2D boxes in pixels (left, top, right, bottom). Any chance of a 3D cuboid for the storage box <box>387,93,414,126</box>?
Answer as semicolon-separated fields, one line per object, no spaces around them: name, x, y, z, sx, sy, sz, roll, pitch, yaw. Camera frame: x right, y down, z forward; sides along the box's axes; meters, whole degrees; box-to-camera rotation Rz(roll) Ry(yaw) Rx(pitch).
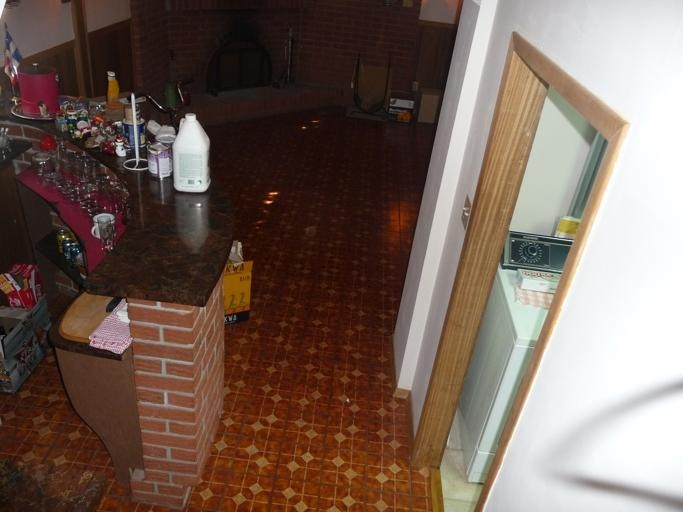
storage box;1.007;-2.476;8.670;0.468;0.382;0.605;8;26;4

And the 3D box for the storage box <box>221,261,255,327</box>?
storage box;-0.838;0.280;3.868;0.320;0.457;0.333;1;1;-24

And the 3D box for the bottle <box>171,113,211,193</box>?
bottle;-0.806;-0.558;2.753;0.203;0.394;0.204;7;29;-4

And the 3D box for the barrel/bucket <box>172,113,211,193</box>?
barrel/bucket;-0.790;-0.533;2.710;0.192;0.419;0.130;-3;27;-18

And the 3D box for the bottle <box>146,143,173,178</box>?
bottle;-1.013;-0.529;2.871;0.157;0.150;0.159;7;29;3

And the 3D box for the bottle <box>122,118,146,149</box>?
bottle;-1.250;-0.738;3.118;0.122;0.170;0.213;-5;28;-21

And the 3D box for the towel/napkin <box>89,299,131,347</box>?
towel/napkin;-1.072;0.349;2.410;0.157;0.038;0.252;14;42;3
